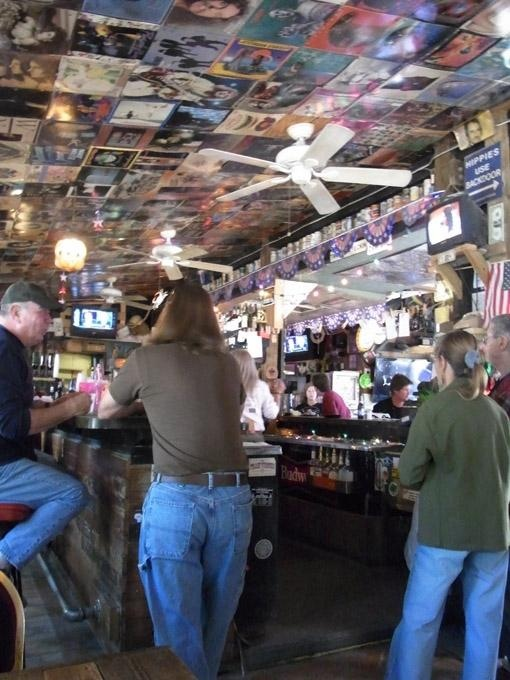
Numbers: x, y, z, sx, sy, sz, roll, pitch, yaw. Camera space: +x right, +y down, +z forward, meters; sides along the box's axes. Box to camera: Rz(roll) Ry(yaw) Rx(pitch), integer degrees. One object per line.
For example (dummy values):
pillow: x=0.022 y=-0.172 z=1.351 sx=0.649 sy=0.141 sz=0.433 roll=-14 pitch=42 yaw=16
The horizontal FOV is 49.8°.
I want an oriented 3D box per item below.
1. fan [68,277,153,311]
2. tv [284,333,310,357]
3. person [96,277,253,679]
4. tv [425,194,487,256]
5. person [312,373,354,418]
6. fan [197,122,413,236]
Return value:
fan: x=-3.691 y=-1.217 z=13.930 sx=1.235 sy=0.357 sz=1.185 roll=9 pitch=-11 yaw=-25
tv: x=1.096 y=0.111 z=14.359 sx=0.384 sy=0.523 sz=0.794 roll=11 pitch=-8 yaw=-38
person: x=-0.286 y=0.487 z=1.951 sx=0.568 sy=1.446 sz=0.315 roll=6 pitch=-7 yaw=-2
tv: x=1.709 y=-1.010 z=4.846 sx=0.301 sy=0.446 sz=0.537 roll=11 pitch=-9 yaw=-40
person: x=0.993 y=0.714 z=7.306 sx=0.485 sy=0.599 sz=1.581 roll=5 pitch=-6 yaw=5
fan: x=0.454 y=-1.436 z=4.590 sx=1.251 sy=0.350 sz=1.224 roll=-9 pitch=-16 yaw=32
